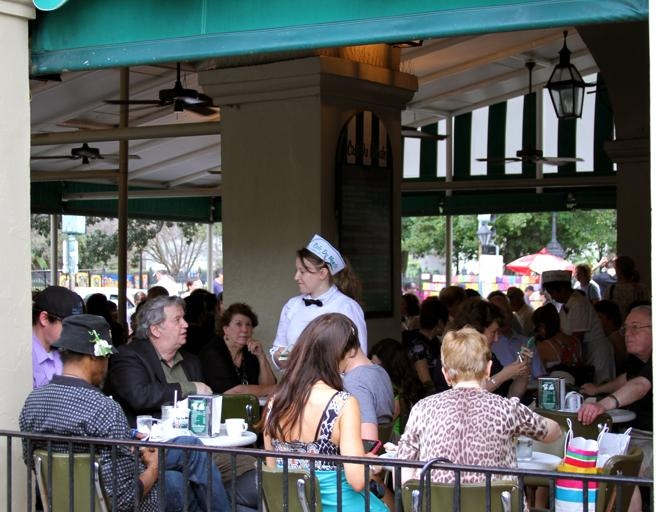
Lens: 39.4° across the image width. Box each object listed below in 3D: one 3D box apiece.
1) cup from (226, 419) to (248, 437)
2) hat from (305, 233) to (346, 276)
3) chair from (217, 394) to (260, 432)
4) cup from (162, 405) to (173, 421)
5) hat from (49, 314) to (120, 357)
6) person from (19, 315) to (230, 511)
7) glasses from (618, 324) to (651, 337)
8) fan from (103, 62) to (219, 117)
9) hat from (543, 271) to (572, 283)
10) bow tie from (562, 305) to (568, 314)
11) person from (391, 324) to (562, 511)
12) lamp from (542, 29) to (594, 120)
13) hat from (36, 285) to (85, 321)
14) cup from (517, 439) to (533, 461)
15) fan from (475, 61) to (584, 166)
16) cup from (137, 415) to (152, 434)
[{"bbox_3d":[-0.586,1.112,5.871,0.111,0.090,0.096,2,-7,11],"label":"cup"},{"bbox_3d":[0.004,-0.042,6.831,0.322,0.184,0.265,14,4,-5],"label":"hat"},{"bbox_3d":[-0.610,1.087,6.555,0.233,0.371,0.330,2,1,12],"label":"chair"},{"bbox_3d":[-1.022,1.002,5.795,0.066,0.087,0.078,2,-13,-2],"label":"cup"},{"bbox_3d":[-1.404,0.457,5.202,0.345,0.243,0.406,-3,-15,29],"label":"hat"},{"bbox_3d":[-1.145,0.934,5.074,1.088,1.204,0.901,-1,-1,-21],"label":"person"},{"bbox_3d":[2.332,0.569,6.907,0.212,0.070,0.208,14,-15,-32],"label":"glasses"},{"bbox_3d":[-2.079,-2.081,11.295,1.163,0.627,1.254,6,7,9],"label":"fan"},{"bbox_3d":[2.767,0.259,10.992,0.270,0.143,0.291,1,2,14],"label":"hat"},{"bbox_3d":[2.516,0.573,9.639,0.078,0.088,0.110,2,-17,-2],"label":"bow tie"},{"bbox_3d":[0.791,0.896,4.900,0.849,0.981,0.421,-1,-1,4],"label":"person"},{"bbox_3d":[2.815,-2.158,10.373,0.569,1.240,0.375,-11,-17,39],"label":"lamp"},{"bbox_3d":[-1.721,0.327,6.029,0.176,0.130,0.237,-13,34,-39],"label":"hat"},{"bbox_3d":[1.202,1.186,5.553,0.117,0.135,0.123,1,-9,0],"label":"cup"},{"bbox_3d":[3.442,-2.407,15.354,1.575,2.015,1.747,2,-5,-3],"label":"fan"},{"bbox_3d":[-1.165,1.068,5.741,0.085,0.111,0.092,2,0,0],"label":"cup"}]
